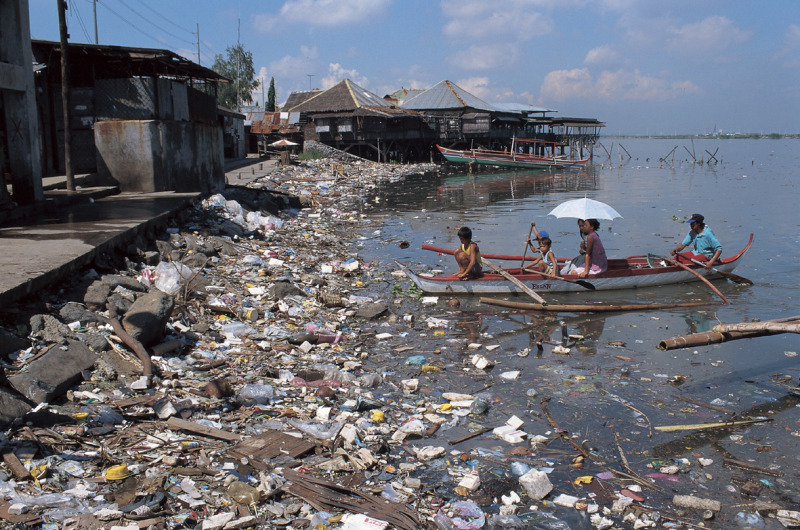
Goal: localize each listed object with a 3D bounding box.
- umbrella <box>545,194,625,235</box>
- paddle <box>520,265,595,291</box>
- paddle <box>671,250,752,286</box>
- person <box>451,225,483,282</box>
[{"bbox_3d":[4.010,-1.149,13.904,1.943,0.418,1.567,2,1,6],"label":"umbrella"},{"bbox_3d":[3.324,0.298,13.291,1.525,0.153,0.116,15,37,-1],"label":"paddle"},{"bbox_3d":[6.986,0.097,14.305,2.606,0.232,0.254,15,3,13],"label":"paddle"},{"bbox_3d":[1.445,-0.282,13.340,0.541,1.055,0.960,-2,12,7],"label":"person"}]
